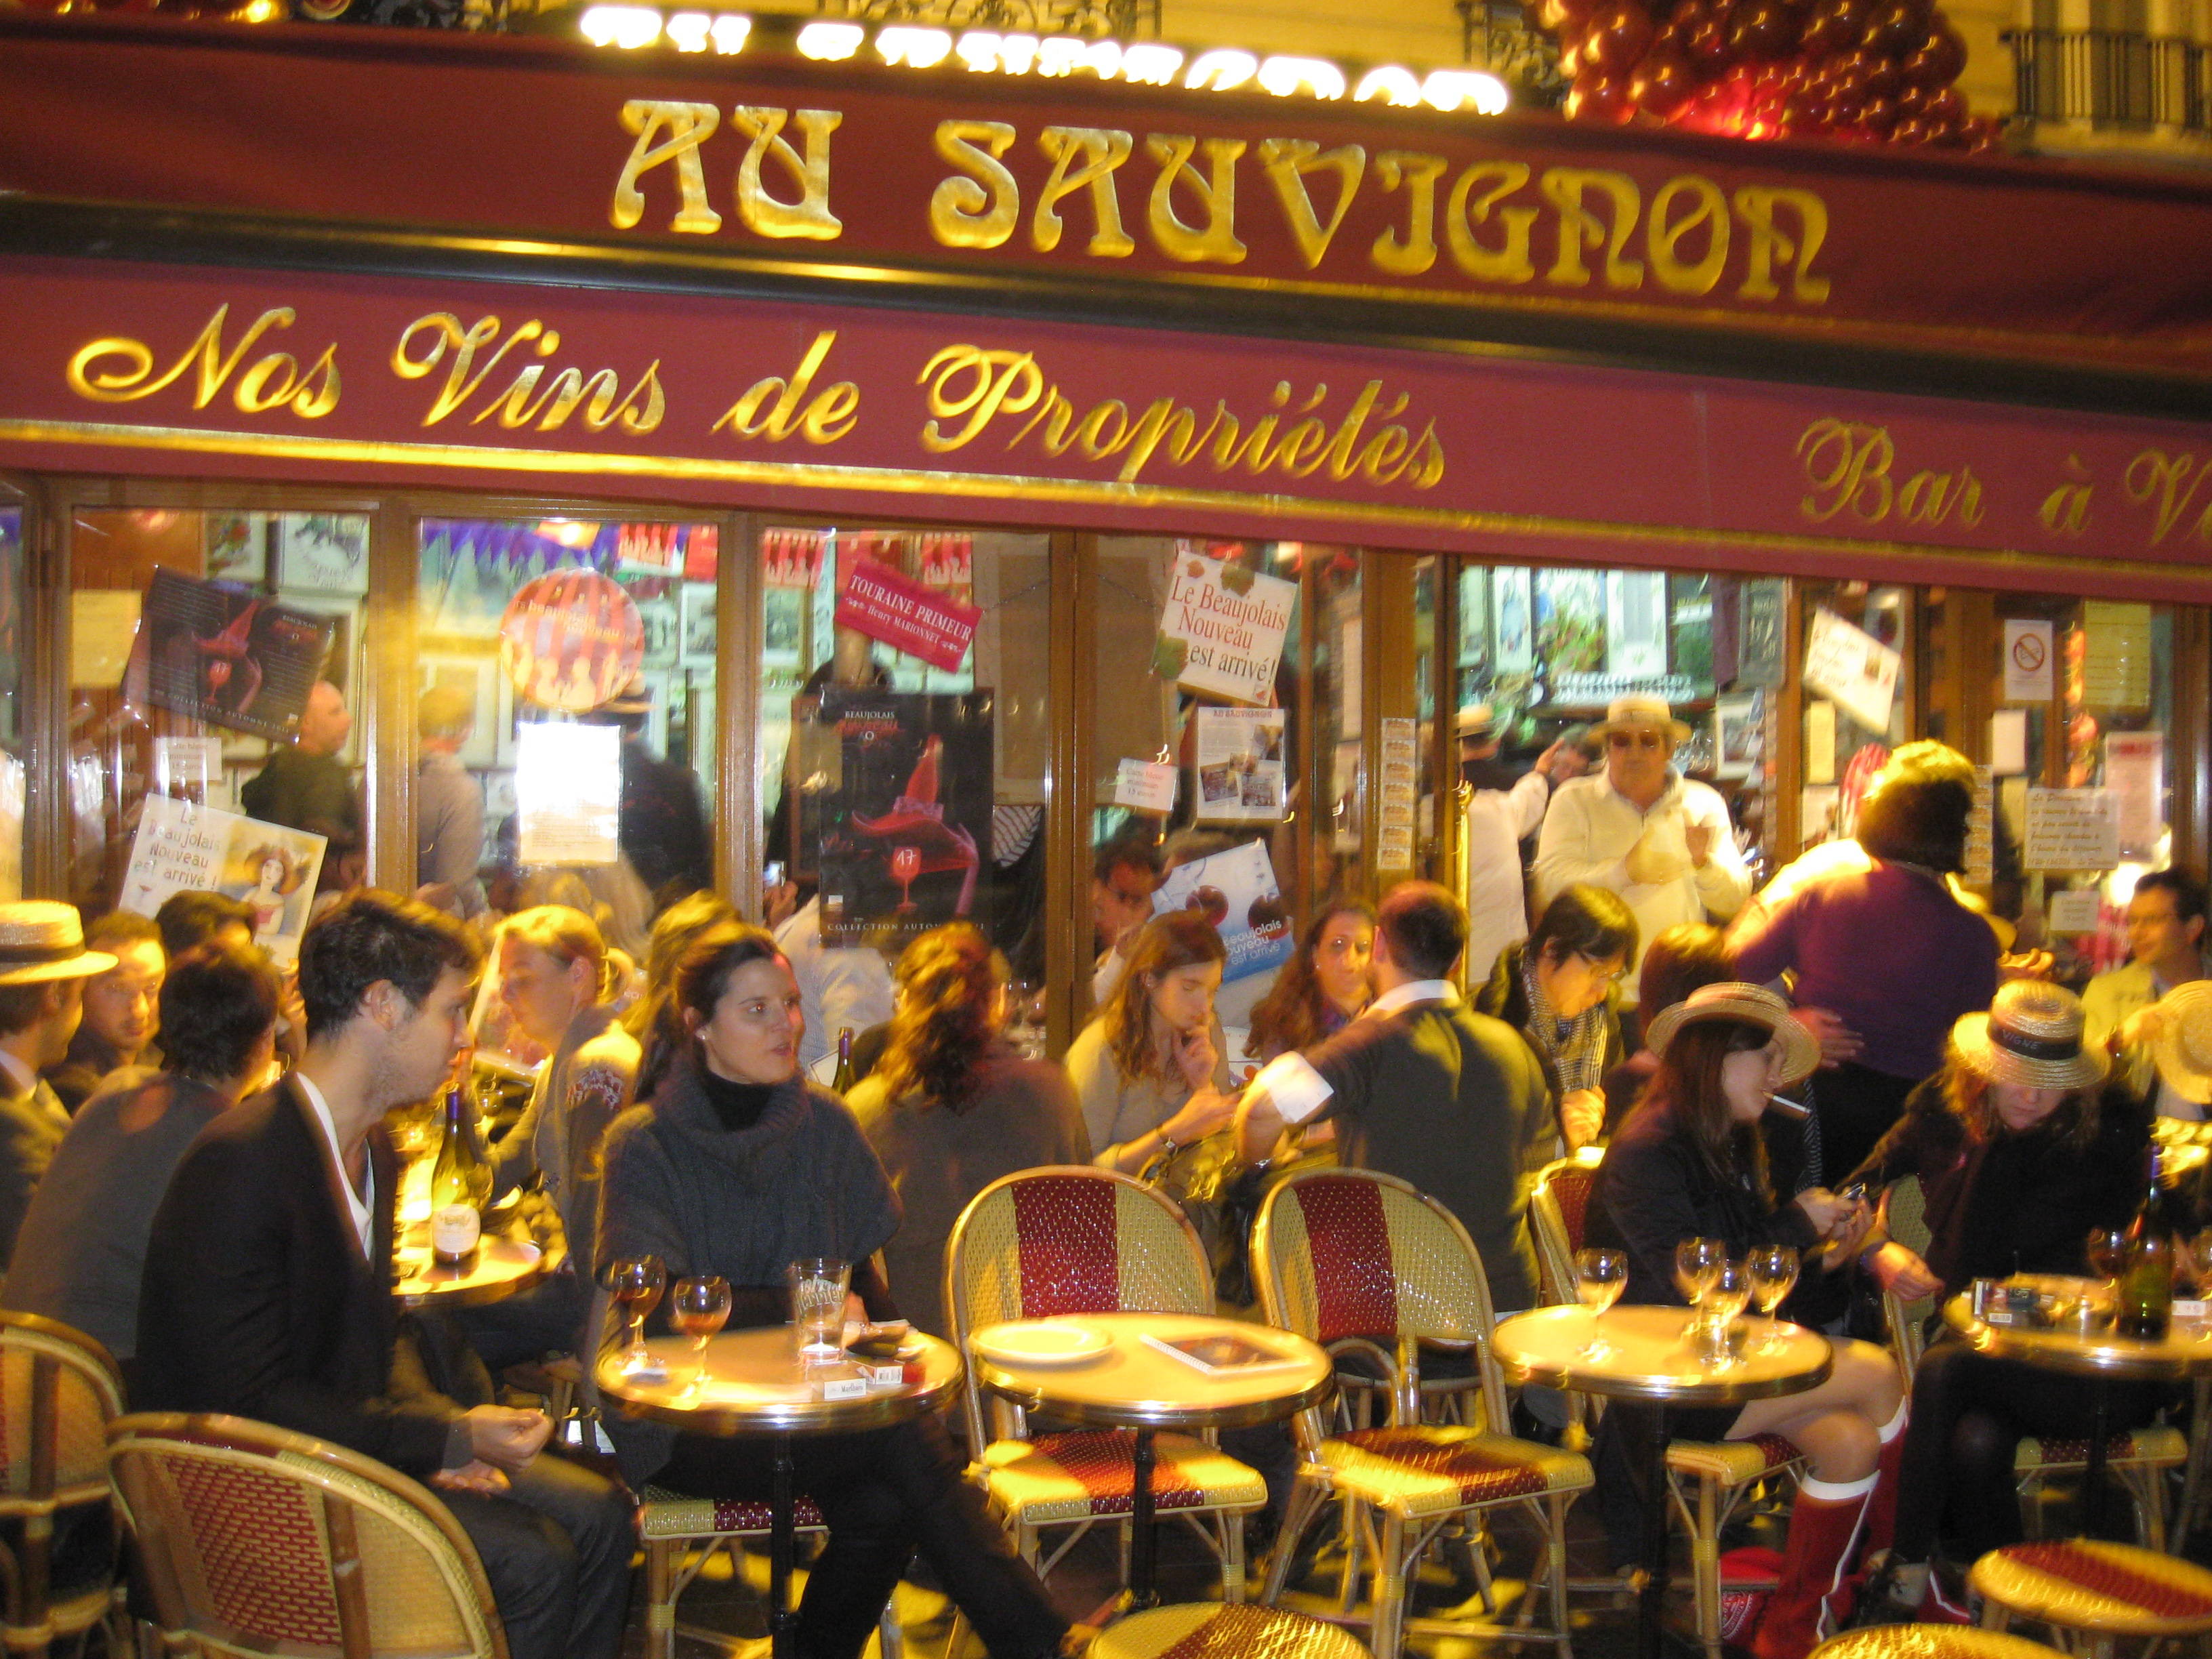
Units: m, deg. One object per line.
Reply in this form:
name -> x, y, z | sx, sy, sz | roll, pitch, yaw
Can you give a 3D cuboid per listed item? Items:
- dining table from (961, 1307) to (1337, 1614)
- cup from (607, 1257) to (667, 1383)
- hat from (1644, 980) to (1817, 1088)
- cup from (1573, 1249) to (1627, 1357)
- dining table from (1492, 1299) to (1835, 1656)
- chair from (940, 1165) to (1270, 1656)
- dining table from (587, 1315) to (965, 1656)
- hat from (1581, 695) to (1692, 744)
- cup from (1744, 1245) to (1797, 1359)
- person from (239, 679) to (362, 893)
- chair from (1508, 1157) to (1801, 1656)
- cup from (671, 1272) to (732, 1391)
dining table -> 0.087, 1.397, 6.359 | 0.713, 0.880, 0.742 | -1, 9, -12
cup -> -1.188, 1.214, 6.304 | 0.133, 0.286, 0.140 | 0, 8, 0
hat -> 1.904, 0.653, 7.348 | 0.371, 0.442, 0.103 | -12, 35, -15
cup -> 1.332, 1.258, 6.828 | 0.170, 0.292, 0.165 | 0, 0, 0
dining table -> 1.366, 1.806, 6.655 | 0.853, 1.109, 0.896 | 1, -4, 0
chair -> -0.009, 1.735, 6.866 | 0.778, 1.547, 0.956 | 1, -3, -22
dining table -> -0.816, 1.496, 6.236 | 0.770, 0.979, 0.787 | 1, 1, -3
hat -> 2.022, -0.418, 9.379 | 0.335, 0.169, 0.058 | 6, -5, -25
cup -> 1.778, 1.249, 6.804 | 0.188, 0.323, 0.195 | -1, 2, 0
person -> -2.736, -0.158, 8.401 | 0.286, 1.080, 0.547 | 1, 6, -8
chair -> 1.414, 1.537, 6.691 | 0.873, 1.152, 0.927 | 0, 1, -2
cup -> -0.995, 1.219, 6.110 | 0.175, 0.383, 0.187 | 0, 5, 0
